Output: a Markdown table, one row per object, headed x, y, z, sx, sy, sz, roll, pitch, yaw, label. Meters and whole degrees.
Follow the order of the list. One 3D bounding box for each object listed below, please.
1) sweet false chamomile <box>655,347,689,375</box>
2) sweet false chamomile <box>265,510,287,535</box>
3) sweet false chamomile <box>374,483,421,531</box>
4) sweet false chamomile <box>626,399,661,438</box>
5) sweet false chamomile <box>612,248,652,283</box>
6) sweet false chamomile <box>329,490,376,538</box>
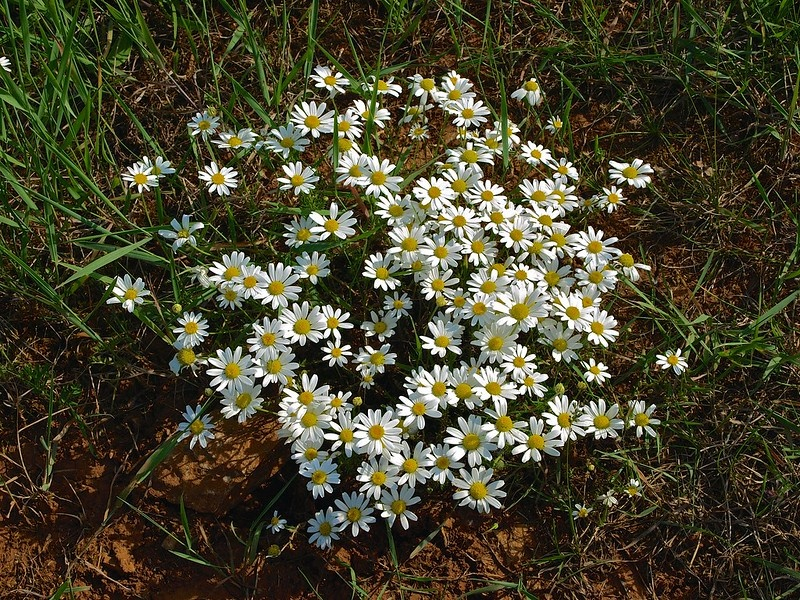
| x | y | z | sx | sy | sz | roll | pitch | yaw | label |
| --- | --- | --- | --- | --- | --- | --- | --- | --- | --- |
| 1.902 | 0.446 | 4.595 | 0.201 | 0.048 | 0.199 | 42 | 80 | 16 | sweet false chamomile |
| -0.843 | 1.545 | 4.472 | 0.130 | 0.080 | 0.134 | 34 | 85 | 2 | sweet false chamomile |
| -0.004 | 1.336 | 4.299 | 0.265 | 0.411 | 0.269 | -39 | 85 | -4 | sweet false chamomile |
| 1.649 | 0.809 | 4.467 | 0.240 | 0.059 | 0.286 | -17 | 80 | -11 | sweet false chamomile |
| 1.653 | -0.231 | 4.708 | 0.233 | 0.069 | 0.234 | -43 | 83 | -4 | sweet false chamomile |
| -0.296 | 1.397 | 4.320 | 0.258 | 0.207 | 0.269 | -2 | 84 | -1 | sweet false chamomile |
